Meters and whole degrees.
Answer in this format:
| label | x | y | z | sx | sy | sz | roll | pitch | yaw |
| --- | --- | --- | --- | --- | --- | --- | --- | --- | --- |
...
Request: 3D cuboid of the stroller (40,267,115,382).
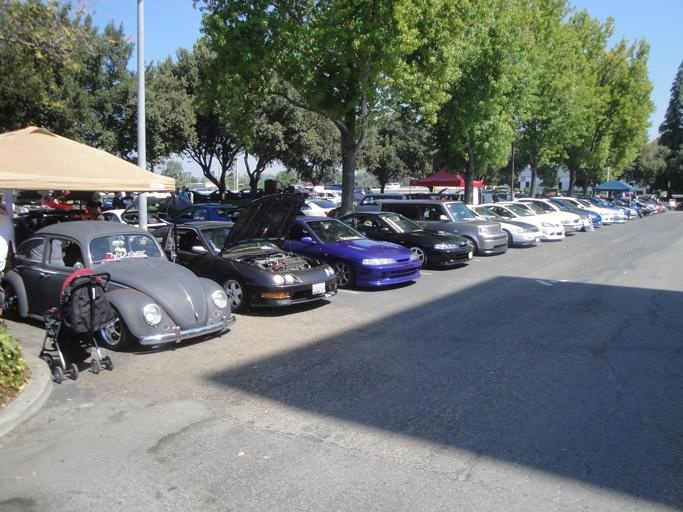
| label | x | y | z | sx | sy | sz | roll | pitch | yaw |
| --- | --- | --- | --- | --- | --- | --- | --- | --- | --- |
| stroller | -3.655 | 0.862 | 6.326 | 0.886 | 1.408 | 1.189 | -6 | 10 | -34 |
